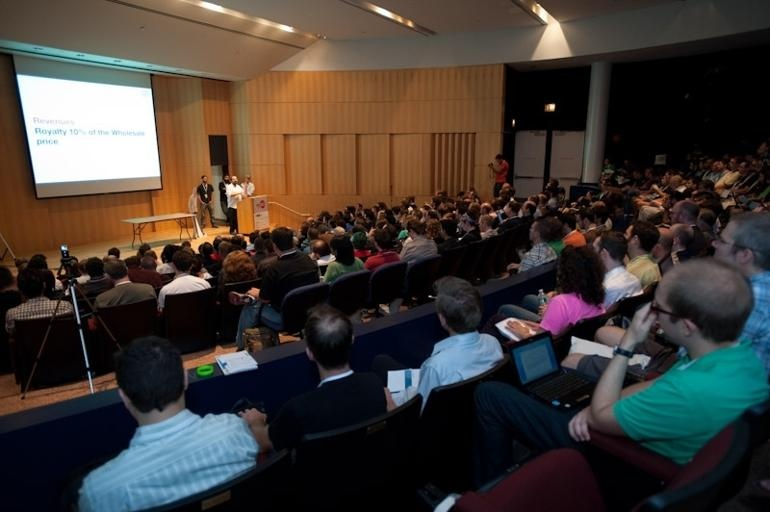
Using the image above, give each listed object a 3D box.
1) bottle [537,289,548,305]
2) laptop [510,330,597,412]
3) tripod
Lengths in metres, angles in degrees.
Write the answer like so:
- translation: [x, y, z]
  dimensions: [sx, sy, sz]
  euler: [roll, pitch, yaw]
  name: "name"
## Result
- translation: [1.468, 0.391, 4.575]
  dimensions: [0.090, 0.128, 0.089]
  euler: [-22, -2, -1]
  name: "bottle"
- translation: [1.023, 0.665, 2.884]
  dimensions: [0.462, 0.269, 0.455]
  euler: [-8, 10, -24]
  name: "laptop"
- translation: [-2.915, 0.663, 4.473]
  dimensions: [0.733, 1.238, 0.946]
  euler: [-21, -15, 26]
  name: "tripod"
